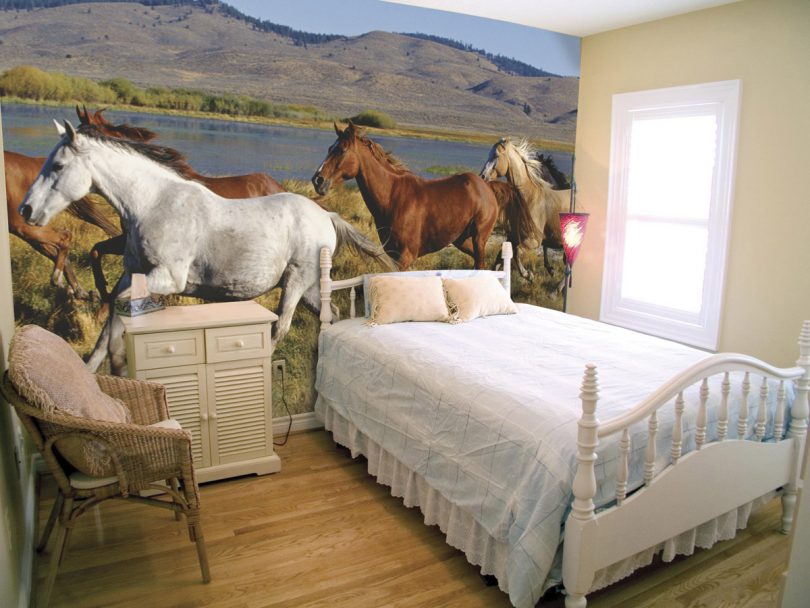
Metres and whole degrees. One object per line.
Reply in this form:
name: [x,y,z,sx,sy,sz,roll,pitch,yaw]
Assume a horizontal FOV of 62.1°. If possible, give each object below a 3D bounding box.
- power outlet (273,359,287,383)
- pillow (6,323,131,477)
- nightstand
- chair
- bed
power outlet: [-0.911,0.473,4.878,0.102,0.171,0.122,-3,8,-27]
pillow: [-1.686,0.396,3.381,0.514,0.539,0.539,-4,11,-24]
nightstand: [-1.310,0.521,4.464,0.915,1.202,0.563,-4,24,-18]
chair: [-1.578,0.961,3.917,1.056,1.380,1.051,-2,14,-20]
bed: [0.645,0.586,4.047,1.658,1.246,1.976,-7,14,-28]
